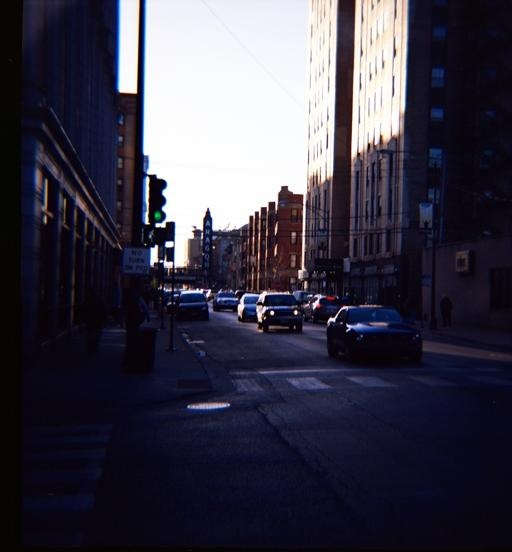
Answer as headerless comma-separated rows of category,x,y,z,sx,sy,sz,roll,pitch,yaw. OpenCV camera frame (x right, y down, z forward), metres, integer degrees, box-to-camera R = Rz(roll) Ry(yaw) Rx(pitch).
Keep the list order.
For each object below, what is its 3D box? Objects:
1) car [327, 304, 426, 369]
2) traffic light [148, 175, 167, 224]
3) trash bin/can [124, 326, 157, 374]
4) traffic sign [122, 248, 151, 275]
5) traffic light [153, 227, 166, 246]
car,2.998,1.653,17.131,1.640,1.721,4.619,2,-6,-5
traffic light,-2.152,-1.655,13.584,0.358,1.088,0.660,0,-1,-12
trash bin/can,-2.426,1.555,13.103,0.554,1.187,0.711,1,2,-13
traffic sign,-2.622,-0.315,13.801,0.597,0.628,0.586,1,-2,-18
traffic light,-2.188,-0.901,14.203,0.276,0.377,0.499,0,-2,-11
